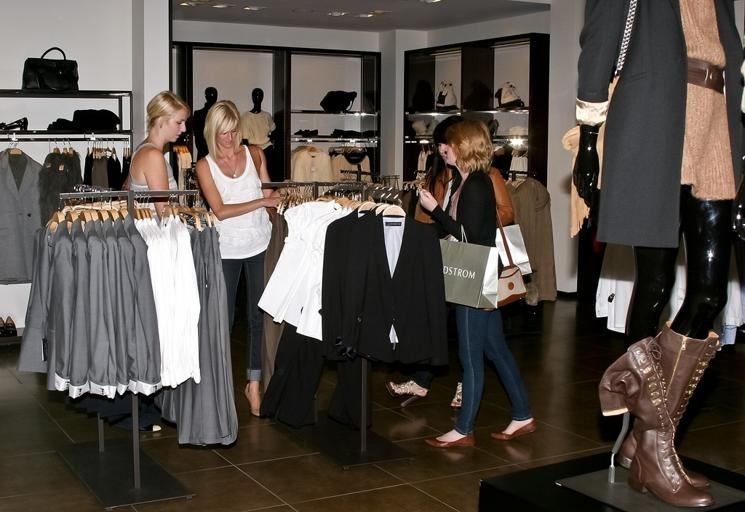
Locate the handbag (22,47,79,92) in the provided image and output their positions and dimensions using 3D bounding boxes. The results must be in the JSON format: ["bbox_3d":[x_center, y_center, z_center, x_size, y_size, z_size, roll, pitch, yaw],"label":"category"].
[{"bbox_3d":[-3.169,-1.932,6.131,0.505,0.434,0.252,-12,54,-45],"label":"handbag"}]

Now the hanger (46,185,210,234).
[{"bbox_3d":[-1.396,-0.305,3.656,0.819,0.214,0.951,-3,9,-21],"label":"hanger"}]

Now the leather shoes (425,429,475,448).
[{"bbox_3d":[0.490,1.196,4.053,0.319,0.136,0.118,2,-3,0],"label":"leather shoes"}]

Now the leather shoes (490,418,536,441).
[{"bbox_3d":[0.953,1.179,4.247,0.344,0.152,0.119,-7,6,-16],"label":"leather shoes"}]

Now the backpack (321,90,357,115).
[{"bbox_3d":[-0.581,-2.684,10.689,0.516,0.330,0.391,8,8,32],"label":"backpack"}]

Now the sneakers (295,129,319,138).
[{"bbox_3d":[-1.127,-2.109,10.457,0.443,0.179,0.150,1,1,-10],"label":"sneakers"}]

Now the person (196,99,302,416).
[{"bbox_3d":[-0.903,0.041,4.411,0.582,2.267,0.638,-4,9,-29],"label":"person"}]

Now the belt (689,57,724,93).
[{"bbox_3d":[1.212,-0.672,2.275,0.102,0.067,0.137,8,9,-21],"label":"belt"}]

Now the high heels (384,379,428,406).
[{"bbox_3d":[0.252,1.062,4.844,0.372,0.172,0.140,13,2,-19],"label":"high heels"}]

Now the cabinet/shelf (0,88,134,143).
[{"bbox_3d":[-3.047,-1.513,6.304,1.200,0.448,0.709,-3,9,-20],"label":"cabinet/shelf"}]
